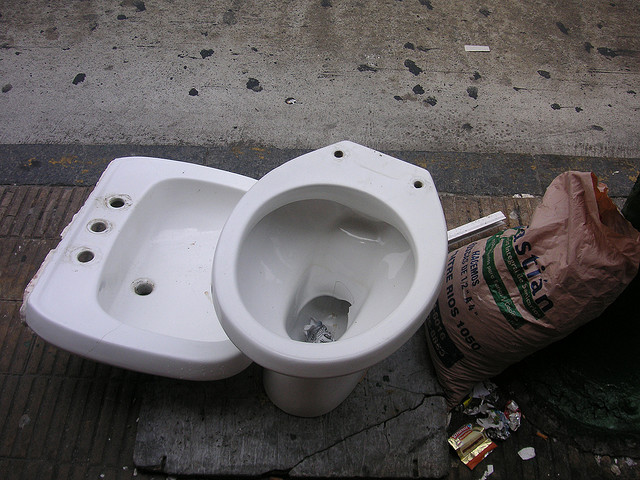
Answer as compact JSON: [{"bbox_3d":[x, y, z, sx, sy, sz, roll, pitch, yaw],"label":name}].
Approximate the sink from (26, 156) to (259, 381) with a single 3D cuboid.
[{"bbox_3d":[-0.549,0.114,1.714,0.671,0.309,0.887,-2,57,-1],"label":"sink"}]
